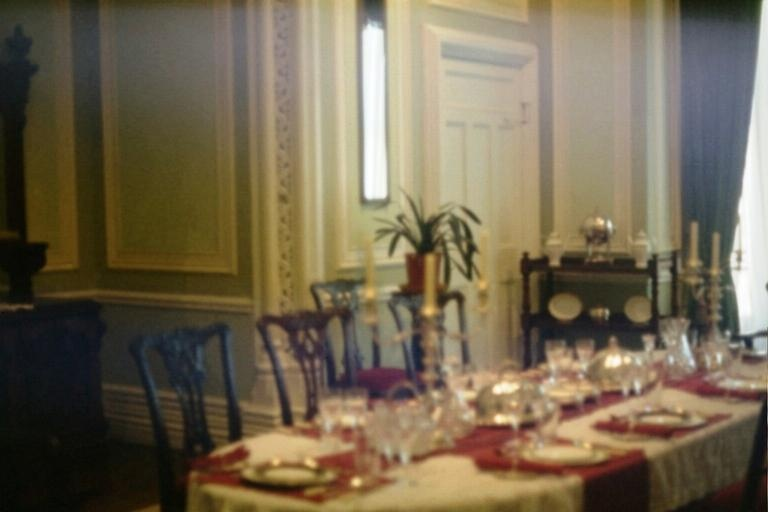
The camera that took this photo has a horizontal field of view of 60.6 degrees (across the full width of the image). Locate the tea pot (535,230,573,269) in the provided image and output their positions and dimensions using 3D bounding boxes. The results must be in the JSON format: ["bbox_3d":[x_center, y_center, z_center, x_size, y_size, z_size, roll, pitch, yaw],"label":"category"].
[{"bbox_3d":[0.955,-0.037,3.679,0.210,0.282,0.177,0,5,12],"label":"tea pot"}]

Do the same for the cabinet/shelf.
[{"bbox_3d":[1.103,0.253,3.286,0.624,0.622,0.242,0,4,18],"label":"cabinet/shelf"}]

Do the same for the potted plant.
[{"bbox_3d":[0.266,-0.067,3.280,0.500,0.414,0.516,-1,-3,34],"label":"potted plant"}]

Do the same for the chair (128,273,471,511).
[{"bbox_3d":[-0.334,0.473,2.397,0.327,0.634,0.936,-5,0,44],"label":"chair"}]
